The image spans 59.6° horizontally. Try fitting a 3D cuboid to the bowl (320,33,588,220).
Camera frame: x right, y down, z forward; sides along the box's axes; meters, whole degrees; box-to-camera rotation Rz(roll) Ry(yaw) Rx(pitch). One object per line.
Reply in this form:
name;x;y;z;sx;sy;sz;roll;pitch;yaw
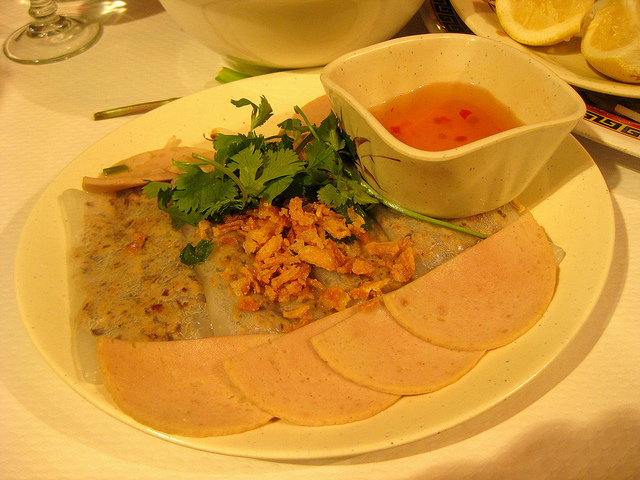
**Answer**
bowl;0.450;-0.429;1.921;0.724;0.362;0.698;-1;64;2
